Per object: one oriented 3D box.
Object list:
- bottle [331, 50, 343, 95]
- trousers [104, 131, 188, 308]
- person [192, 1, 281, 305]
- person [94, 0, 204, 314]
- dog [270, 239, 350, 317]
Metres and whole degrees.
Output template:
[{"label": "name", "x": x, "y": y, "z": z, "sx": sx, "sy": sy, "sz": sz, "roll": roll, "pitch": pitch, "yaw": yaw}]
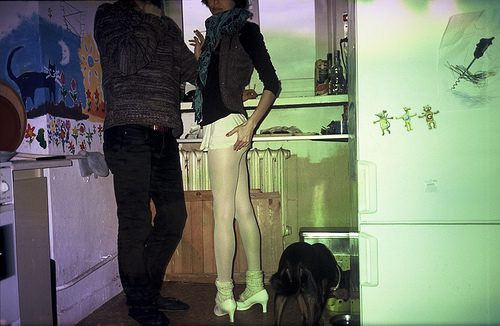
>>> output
[{"label": "bottle", "x": 0.681, "y": -0.702, "z": 3.310, "sx": 0.093, "sy": 0.268, "sz": 0.079, "roll": 0, "pitch": 0, "yaw": 19}, {"label": "trousers", "x": -0.661, "y": 0.365, "z": 2.725, "sx": 0.225, "sy": 1.058, "sz": 0.467, "roll": 0, "pitch": 0, "yaw": 45}, {"label": "person", "x": -0.116, "y": -0.035, "z": 2.839, "sx": 0.500, "sy": 1.641, "sz": 0.721, "roll": 0, "pitch": 0, "yaw": -7}, {"label": "person", "x": -0.663, "y": -0.021, "z": 2.706, "sx": 0.580, "sy": 1.844, "sz": 0.331, "roll": -1, "pitch": 0, "yaw": -21}, {"label": "dog", "x": 0.406, "y": 0.730, "z": 2.699, "sx": 0.282, "sy": 0.373, "sz": 0.567, "roll": 0, "pitch": 0, "yaw": 41}]
